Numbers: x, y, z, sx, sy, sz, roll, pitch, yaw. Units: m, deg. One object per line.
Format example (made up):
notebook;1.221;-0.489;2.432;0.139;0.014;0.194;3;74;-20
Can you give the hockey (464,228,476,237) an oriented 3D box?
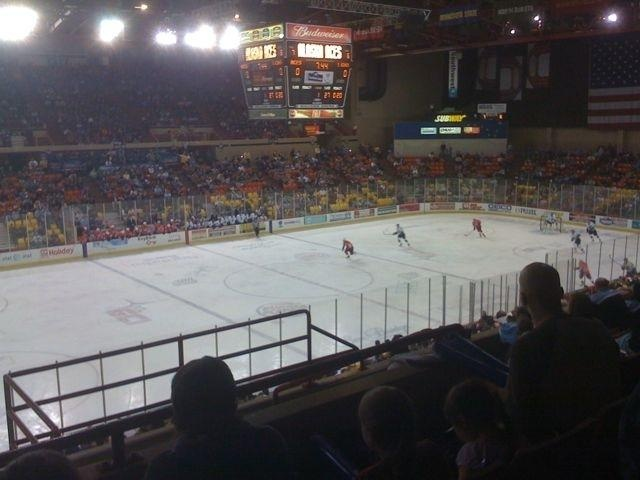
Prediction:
hockey;8.915;-0.404;34.187;0.804;0.341;0.033;4;-5;-36
